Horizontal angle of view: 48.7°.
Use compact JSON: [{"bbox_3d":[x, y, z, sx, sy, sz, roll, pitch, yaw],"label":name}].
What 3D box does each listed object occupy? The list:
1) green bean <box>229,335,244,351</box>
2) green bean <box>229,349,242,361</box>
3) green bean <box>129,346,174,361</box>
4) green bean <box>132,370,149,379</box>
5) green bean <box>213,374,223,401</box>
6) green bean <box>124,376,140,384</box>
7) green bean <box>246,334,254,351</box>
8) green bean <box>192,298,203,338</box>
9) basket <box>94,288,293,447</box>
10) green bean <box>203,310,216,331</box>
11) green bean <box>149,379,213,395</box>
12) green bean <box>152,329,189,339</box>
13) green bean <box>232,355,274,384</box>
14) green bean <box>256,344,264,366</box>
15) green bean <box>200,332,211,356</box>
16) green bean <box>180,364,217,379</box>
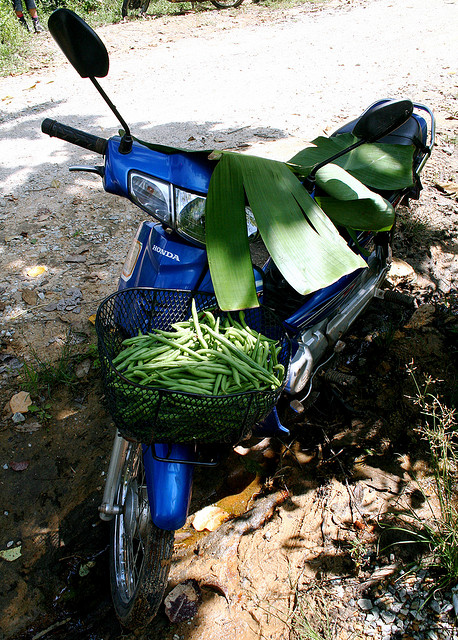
[{"bbox_3d":[0.026,0.068,1.526,0.028,0.013,0.040,0,46,-5],"label":"green bean"},{"bbox_3d":[0.018,0.101,1.456,0.008,0.032,0.031,-51,14,-4],"label":"green bean"},{"bbox_3d":[-0.224,0.096,1.453,0.078,0.011,0.010,-21,39,-9],"label":"green bean"},{"bbox_3d":[-0.244,0.149,1.375,0.015,0.017,0.059,-22,-4,0],"label":"green bean"},{"bbox_3d":[-0.028,0.186,1.384,0.010,0.008,0.072,-2,40,22],"label":"green bean"},{"bbox_3d":[-0.263,0.168,1.366,0.023,0.028,0.012,24,86,53],"label":"green bean"},{"bbox_3d":[0.066,0.067,1.537,0.012,0.013,0.051,-26,31,12],"label":"green bean"},{"bbox_3d":[-0.101,-0.004,1.567,0.019,0.015,0.140,-21,62,21],"label":"green bean"},{"bbox_3d":[-0.100,0.127,1.486,0.435,0.452,0.607,-7,36,-19],"label":"basket"},{"bbox_3d":[-0.058,0.002,1.574,0.021,0.016,0.062,-15,56,-4],"label":"green bean"},{"bbox_3d":[-0.134,0.177,1.327,0.125,0.017,0.017,11,2,-15],"label":"green bean"},{"bbox_3d":[-0.180,0.049,1.539,0.106,0.031,0.025,7,69,-23],"label":"green bean"},{"bbox_3d":[0.063,0.142,1.433,0.115,0.012,0.012,36,87,7],"label":"green bean"},{"bbox_3d":[0.092,0.104,1.496,0.013,0.014,0.055,24,46,-13],"label":"green bean"},{"bbox_3d":[-0.066,0.072,1.522,0.018,0.020,0.077,-2,47,17],"label":"green bean"},{"bbox_3d":[-0.091,0.144,1.410,0.105,0.026,0.017,14,-4,-14],"label":"green bean"}]
